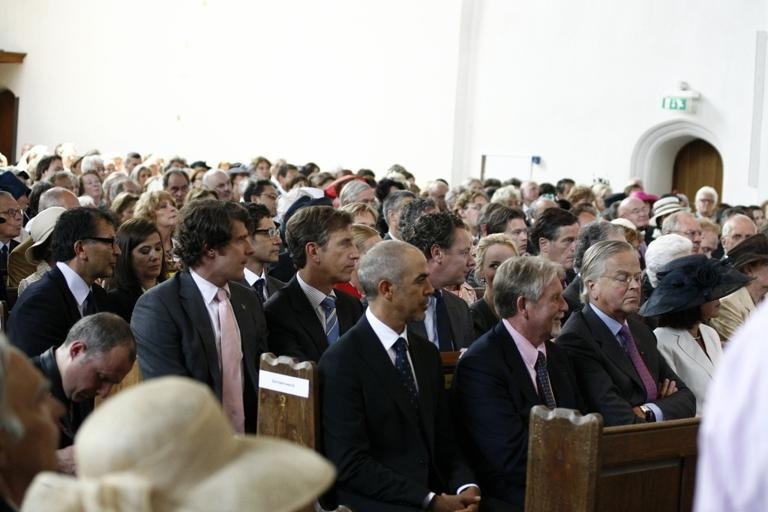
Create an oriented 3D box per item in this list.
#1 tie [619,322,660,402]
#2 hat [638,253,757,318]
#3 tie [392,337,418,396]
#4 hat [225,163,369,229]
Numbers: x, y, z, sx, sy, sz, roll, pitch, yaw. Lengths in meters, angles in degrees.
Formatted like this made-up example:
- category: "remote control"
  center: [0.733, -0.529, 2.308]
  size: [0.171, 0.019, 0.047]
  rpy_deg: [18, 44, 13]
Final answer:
- category: "tie"
  center: [1.456, 0.614, 3.818]
  size: [0.090, 0.364, 0.267]
  rpy_deg: [-25, 9, 20]
- category: "hat"
  center: [1.857, 0.163, 3.981]
  size: [0.502, 0.187, 0.390]
  rpy_deg: [-14, 0, -23]
- category: "tie"
  center: [0.097, 0.535, 3.250]
  size: [0.076, 0.344, 0.089]
  rpy_deg: [-20, -18, 6]
- category: "hat"
  center: [-0.827, -0.763, 8.196]
  size: [1.123, 0.456, 0.842]
  rpy_deg: [-21, -6, 2]
